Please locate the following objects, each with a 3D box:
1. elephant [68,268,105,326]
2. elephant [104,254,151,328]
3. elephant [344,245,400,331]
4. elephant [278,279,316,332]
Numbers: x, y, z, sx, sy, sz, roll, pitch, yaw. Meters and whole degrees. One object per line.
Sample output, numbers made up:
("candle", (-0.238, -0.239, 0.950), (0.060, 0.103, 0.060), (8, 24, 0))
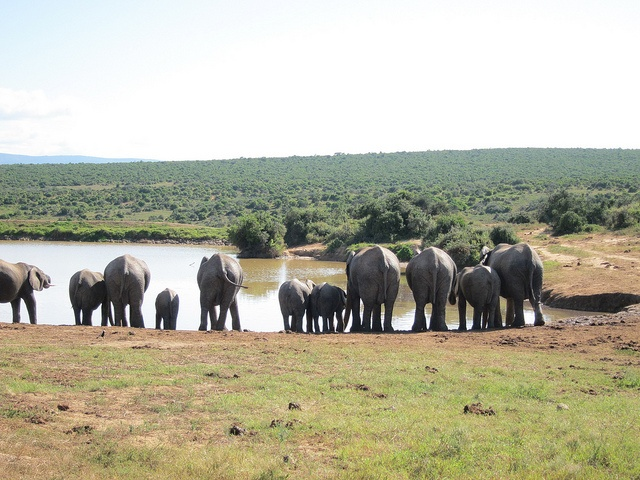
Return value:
("elephant", (-7.262, 1.724, 23.870), (0.885, 1.613, 1.199), (4, 11, 17))
("elephant", (-5.820, 1.596, 23.376), (1.242, 2.353, 1.483), (-2, 11, -16))
("elephant", (1.519, 1.514, 23.676), (1.293, 2.928, 2.301), (-1, 11, -14))
("elephant", (-0.772, 2.143, 25.021), (1.059, 1.744, 2.292), (1, 10, -1))
